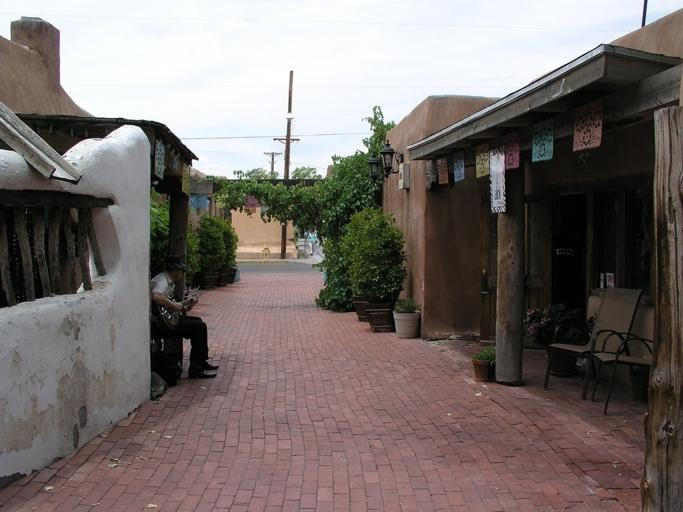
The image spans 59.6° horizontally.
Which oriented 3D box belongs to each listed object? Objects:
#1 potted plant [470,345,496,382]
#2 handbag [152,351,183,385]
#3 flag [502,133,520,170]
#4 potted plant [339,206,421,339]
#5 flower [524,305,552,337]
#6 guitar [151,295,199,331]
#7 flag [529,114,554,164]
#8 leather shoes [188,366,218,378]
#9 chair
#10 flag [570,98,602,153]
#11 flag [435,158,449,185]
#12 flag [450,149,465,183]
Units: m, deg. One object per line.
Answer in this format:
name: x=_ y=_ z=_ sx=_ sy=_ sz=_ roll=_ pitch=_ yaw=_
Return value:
potted plant: x=1.967 y=1.481 z=8.261 sx=0.299 sy=0.421 sz=0.388 roll=1 pitch=5 yaw=12
handbag: x=-2.309 y=1.465 z=7.850 sx=0.304 sy=0.253 sz=0.462 roll=-6 pitch=-37 yaw=22
flag: x=2.146 y=-1.327 z=7.552 sx=0.053 sy=0.612 sz=0.422 roll=1 pitch=-3 yaw=-11
potted plant: x=0.798 y=0.239 z=12.619 sx=0.969 sy=2.478 sz=2.962 roll=-2 pitch=5 yaw=-16
flower: x=3.131 y=0.990 z=9.562 sx=0.230 sy=0.452 sz=0.337 roll=38 pitch=-37 yaw=-29
guitar: x=-2.200 y=0.764 z=7.918 sx=0.312 sy=0.394 sz=0.581 roll=2 pitch=5 yaw=24
flag: x=2.345 y=-1.402 z=7.019 sx=0.046 sy=0.545 sz=0.477 roll=1 pitch=-4 yaw=-13
leather shoes: x=-1.943 y=1.628 z=8.353 sx=0.298 sy=0.151 sz=0.180 roll=1 pitch=3 yaw=-5
chair: x=3.506 y=1.124 z=7.712 sx=1.305 sy=2.064 sz=1.182 roll=4 pitch=-2 yaw=-27
flag: x=2.530 y=-1.379 z=6.189 sx=0.026 sy=0.534 sz=0.484 roll=-2 pitch=2 yaw=-14
flag: x=1.669 y=-1.423 z=9.891 sx=0.057 sy=0.600 sz=0.413 roll=0 pitch=-4 yaw=-15
flag: x=1.797 y=-1.416 z=9.263 sx=0.053 sy=0.596 sz=0.398 roll=2 pitch=-7 yaw=-14
